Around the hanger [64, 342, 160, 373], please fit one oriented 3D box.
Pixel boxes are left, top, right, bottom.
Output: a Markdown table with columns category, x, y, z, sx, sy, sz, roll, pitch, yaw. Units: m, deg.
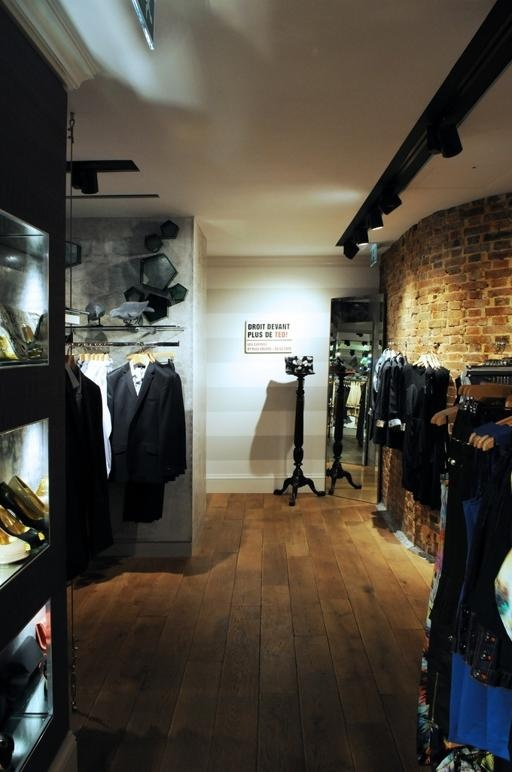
| category | x | y | z | sx | sy | sz | roll | pitch | yaw |
| --- | --- | --- | --- | --- | --- | --- | --- | --- | --- |
| hanger | -0.930 | -0.194 | 3.047 | 0.616 | 0.149 | 1.157 | -1 | 3 | -14 |
